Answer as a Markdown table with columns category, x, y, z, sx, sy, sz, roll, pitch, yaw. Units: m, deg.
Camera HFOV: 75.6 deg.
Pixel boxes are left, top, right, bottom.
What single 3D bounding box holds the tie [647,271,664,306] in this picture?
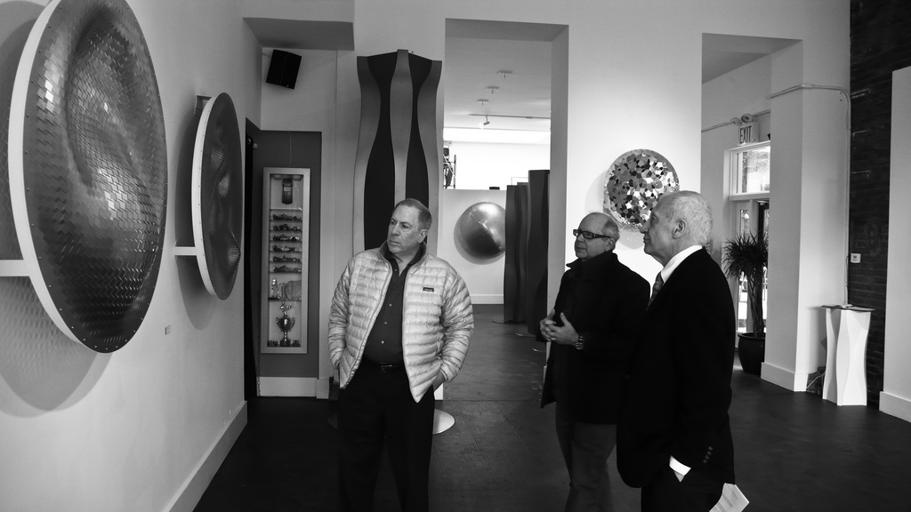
| category | x | y | z | sx | sy | sz | roll | pitch | yaw |
| --- | --- | --- | --- | --- | --- | --- | --- | --- | --- |
| tie | 1.176 | 0.144 | 3.450 | 0.068 | 0.044 | 0.394 | 9 | 37 | 24 |

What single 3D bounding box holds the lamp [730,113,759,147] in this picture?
| category | x | y | z | sx | sy | sz | roll | pitch | yaw |
| --- | --- | --- | --- | --- | --- | --- | --- | --- | --- |
| lamp | 4.243 | -1.867 | 8.686 | 0.195 | 0.413 | 0.356 | -1 | 4 | -20 |

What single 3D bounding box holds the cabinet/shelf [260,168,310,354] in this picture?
| category | x | y | z | sx | sy | sz | roll | pitch | yaw |
| --- | --- | --- | --- | --- | --- | --- | --- | --- | --- |
| cabinet/shelf | -1.844 | 0.050 | 6.470 | 0.547 | 2.022 | 0.141 | 1 | 1 | 7 |

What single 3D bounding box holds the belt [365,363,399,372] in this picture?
| category | x | y | z | sx | sy | sz | roll | pitch | yaw |
| --- | --- | --- | --- | --- | --- | --- | --- | --- | --- |
| belt | -0.459 | 0.713 | 3.775 | 0.182 | 0.055 | 0.015 | 1 | 4 | 2 |

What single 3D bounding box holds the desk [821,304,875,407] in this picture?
| category | x | y | z | sx | sy | sz | roll | pitch | yaw |
| --- | --- | --- | --- | --- | --- | --- | --- | --- | --- |
| desk | 4.356 | 1.097 | 6.579 | 0.451 | 1.072 | 0.375 | 3 | 5 | 27 |

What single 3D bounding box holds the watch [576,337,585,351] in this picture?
| category | x | y | z | sx | sy | sz | roll | pitch | yaw |
| --- | --- | --- | --- | --- | --- | --- | --- | --- | --- |
| watch | 0.838 | 0.585 | 3.916 | 0.060 | 0.083 | 0.031 | 2 | -3 | 10 |
